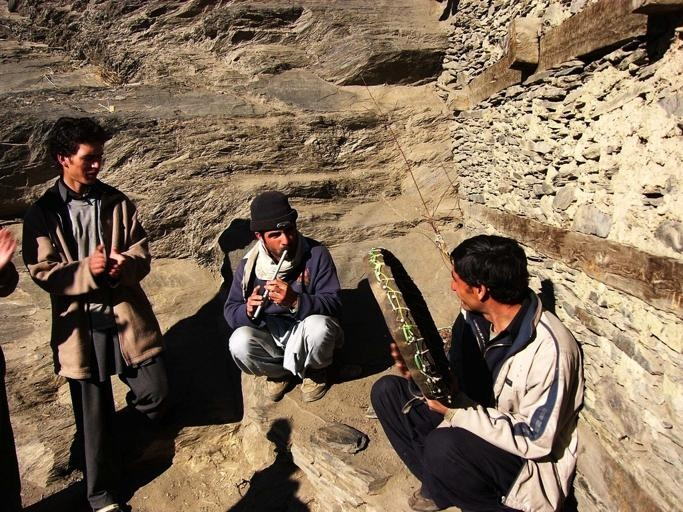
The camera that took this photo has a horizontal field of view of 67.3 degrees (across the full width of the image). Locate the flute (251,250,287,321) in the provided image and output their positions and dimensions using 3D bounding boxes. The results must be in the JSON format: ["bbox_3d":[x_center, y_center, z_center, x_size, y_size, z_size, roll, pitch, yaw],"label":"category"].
[{"bbox_3d":[-0.609,0.244,4.300,0.066,0.629,0.070,24,-5,27],"label":"flute"}]

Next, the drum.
[{"bbox_3d":[0.437,0.514,3.740,0.885,0.992,0.795,7,16,11],"label":"drum"}]
